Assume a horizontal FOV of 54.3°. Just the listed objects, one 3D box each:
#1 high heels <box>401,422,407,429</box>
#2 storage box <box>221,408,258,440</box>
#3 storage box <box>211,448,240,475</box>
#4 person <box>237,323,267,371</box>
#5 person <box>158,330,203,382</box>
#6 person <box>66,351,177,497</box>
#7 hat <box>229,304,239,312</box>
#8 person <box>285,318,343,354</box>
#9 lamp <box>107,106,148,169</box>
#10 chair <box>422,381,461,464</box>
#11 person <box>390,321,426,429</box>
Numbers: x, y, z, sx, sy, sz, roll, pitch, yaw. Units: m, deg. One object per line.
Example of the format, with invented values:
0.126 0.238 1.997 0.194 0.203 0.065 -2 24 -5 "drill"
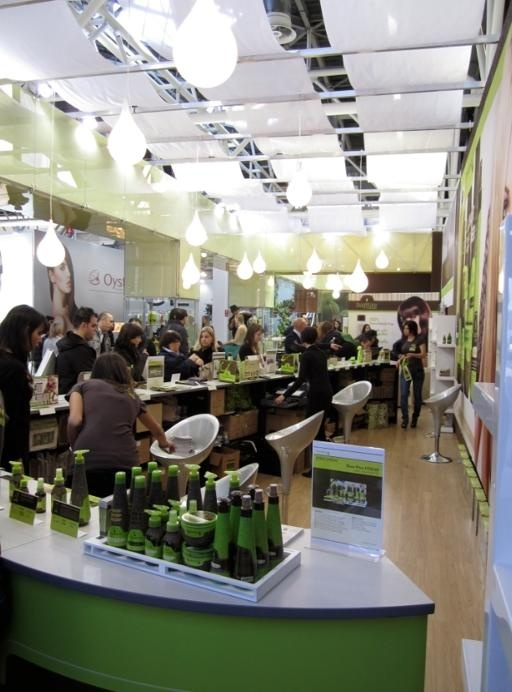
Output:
2.666 1.421 8.986 0.097 0.143 0.138 -1 0 14 "high heels"
-0.209 0.960 5.856 0.209 0.376 0.734 1 5 25 "storage box"
-0.312 1.119 5.161 0.188 0.258 0.340 1 -1 30 "storage box"
-0.058 -0.012 7.183 0.414 0.851 0.494 1 5 0 "person"
-0.889 0.288 5.942 0.482 0.963 0.440 -1 19 -3 "person"
-0.794 0.434 2.823 0.497 0.757 0.357 -2 5 -15 "person"
-0.475 -0.811 11.117 0.178 0.223 0.237 5 22 3 "hat"
1.073 -0.162 9.427 0.871 0.691 0.678 -3 8 -4 "person"
-0.899 -1.492 3.507 0.244 0.452 0.433 -2 5 -14 "lamp"
2.643 1.020 7.126 0.478 1.114 1.709 1 5 22 "chair"
2.823 0.536 9.178 0.485 2.011 1.320 0 5 16 "person"
